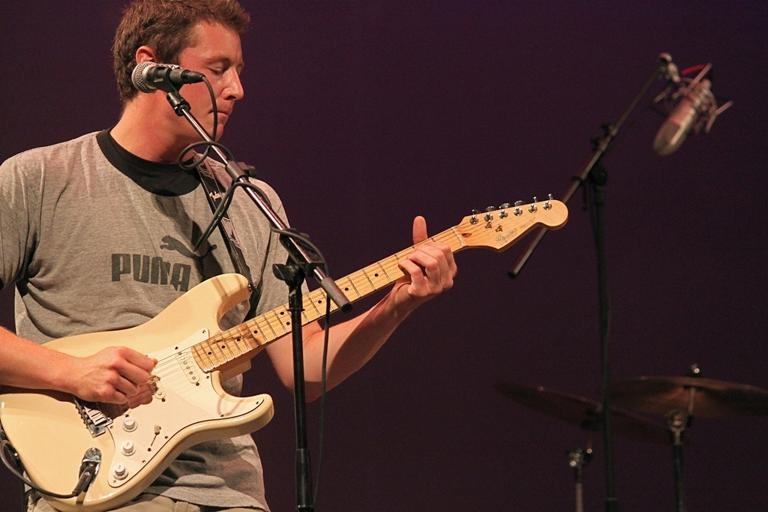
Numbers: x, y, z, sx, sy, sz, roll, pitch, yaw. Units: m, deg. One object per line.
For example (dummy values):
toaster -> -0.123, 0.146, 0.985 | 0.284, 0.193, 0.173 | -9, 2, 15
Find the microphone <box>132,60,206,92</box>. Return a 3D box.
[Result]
microphone -> -0.917, -0.742, 4.429 | 0.329, 0.143, 0.141 | 2, 36, 24
